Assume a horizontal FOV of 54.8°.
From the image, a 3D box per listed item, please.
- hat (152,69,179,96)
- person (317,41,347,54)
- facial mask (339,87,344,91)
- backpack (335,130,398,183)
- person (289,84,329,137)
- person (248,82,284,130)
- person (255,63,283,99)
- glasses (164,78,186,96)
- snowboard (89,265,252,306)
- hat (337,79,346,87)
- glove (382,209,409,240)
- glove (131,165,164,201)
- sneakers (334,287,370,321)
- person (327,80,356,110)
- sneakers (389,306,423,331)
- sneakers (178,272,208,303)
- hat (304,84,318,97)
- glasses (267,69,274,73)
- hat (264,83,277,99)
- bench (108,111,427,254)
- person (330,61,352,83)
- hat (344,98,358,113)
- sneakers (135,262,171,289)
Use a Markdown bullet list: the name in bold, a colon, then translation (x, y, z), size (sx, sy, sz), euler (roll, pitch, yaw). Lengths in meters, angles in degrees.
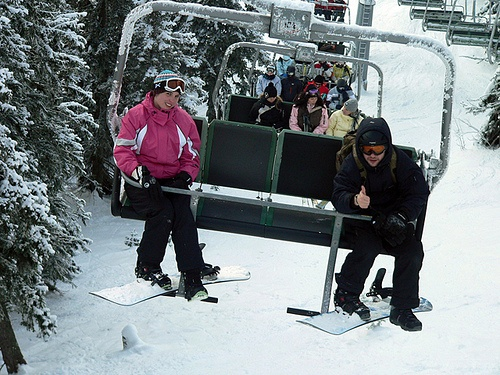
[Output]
- **hat**: translation (-0.948, -1.160, 5.309), size (0.242, 0.217, 0.249), euler (6, 10, 37)
- **person**: translation (2.816, -4.891, 16.719), size (0.946, 0.347, 1.846), euler (5, 10, 9)
- **facial mask**: translation (2.200, -2.371, 11.564), size (0.092, 0.058, 0.022), euler (-4, 15, -20)
- **backpack**: translation (1.322, -0.397, 5.559), size (0.487, 0.691, 0.639), euler (1, -1, 3)
- **person**: translation (1.108, -1.372, 9.015), size (0.797, 1.088, 0.727), euler (1, 10, -22)
- **person**: translation (0.380, -1.524, 9.650), size (0.756, 1.000, 0.682), euler (-6, 36, -13)
- **person**: translation (0.433, -2.444, 11.470), size (0.622, 0.963, 0.585), euler (3, -4, -3)
- **glasses**: translation (-0.813, -1.122, 5.305), size (0.254, 0.170, 0.110), euler (-5, 12, -39)
- **snowboard**: translation (-0.777, 1.110, 5.520), size (2.037, 0.227, 0.673), euler (-2, 5, -31)
- **hat**: translation (2.176, -2.510, 11.515), size (0.194, 0.158, 0.150), euler (-3, 21, 14)
- **glove**: translation (1.567, 0.396, 5.102), size (0.337, 0.270, 0.152), euler (0, 10, -17)
- **glove**: translation (-1.111, -0.069, 5.166), size (0.117, 0.403, 0.236), euler (-36, -19, -10)
- **sneakers**: translation (1.072, 1.247, 5.163), size (0.366, 0.169, 0.242), euler (29, 52, 12)
- **person**: translation (2.197, -2.132, 11.663), size (0.600, 0.869, 0.588), euler (5, 0, 34)
- **sneakers**: translation (1.643, 1.387, 5.221), size (0.154, 0.207, 0.438), euler (-8, 9, -31)
- **sneakers**: translation (-0.611, 1.056, 5.200), size (0.307, 0.306, 0.210), euler (2, 10, -6)
- **hat**: translation (1.130, -1.809, 8.959), size (0.234, 0.218, 0.175), euler (-26, -9, 31)
- **glasses**: translation (0.478, -2.780, 11.511), size (0.163, 0.088, 0.106), euler (2, 10, -10)
- **hat**: translation (0.387, -1.917, 9.540), size (0.196, 0.244, 0.268), euler (1, 5, -10)
- **bench**: translation (0.213, -0.063, 6.028), size (3.729, 1.110, 1.147), euler (7, -26, 2)
- **person**: translation (2.854, -3.649, 15.261), size (0.628, 0.611, 1.149), euler (5, 10, 11)
- **hat**: translation (1.782, -1.457, 8.583), size (0.245, 0.246, 0.320), euler (5, 10, 9)
- **sneakers**: translation (-1.047, 0.956, 5.401), size (0.459, 0.195, 0.211), euler (14, -6, 7)
